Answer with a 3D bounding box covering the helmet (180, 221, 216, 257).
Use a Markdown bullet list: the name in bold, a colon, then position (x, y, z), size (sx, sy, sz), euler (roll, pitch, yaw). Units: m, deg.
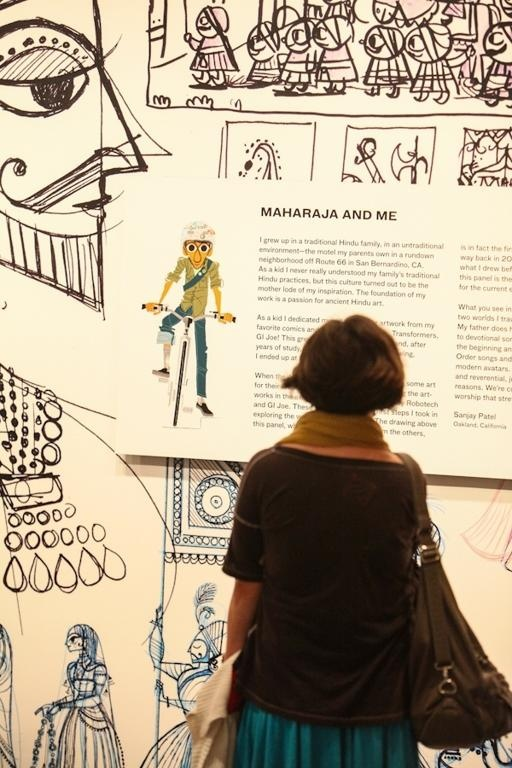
- **helmet**: position (-0.194, -0.510, 2.611), size (0.102, 0.088, 0.107), euler (0, -54, -1)
